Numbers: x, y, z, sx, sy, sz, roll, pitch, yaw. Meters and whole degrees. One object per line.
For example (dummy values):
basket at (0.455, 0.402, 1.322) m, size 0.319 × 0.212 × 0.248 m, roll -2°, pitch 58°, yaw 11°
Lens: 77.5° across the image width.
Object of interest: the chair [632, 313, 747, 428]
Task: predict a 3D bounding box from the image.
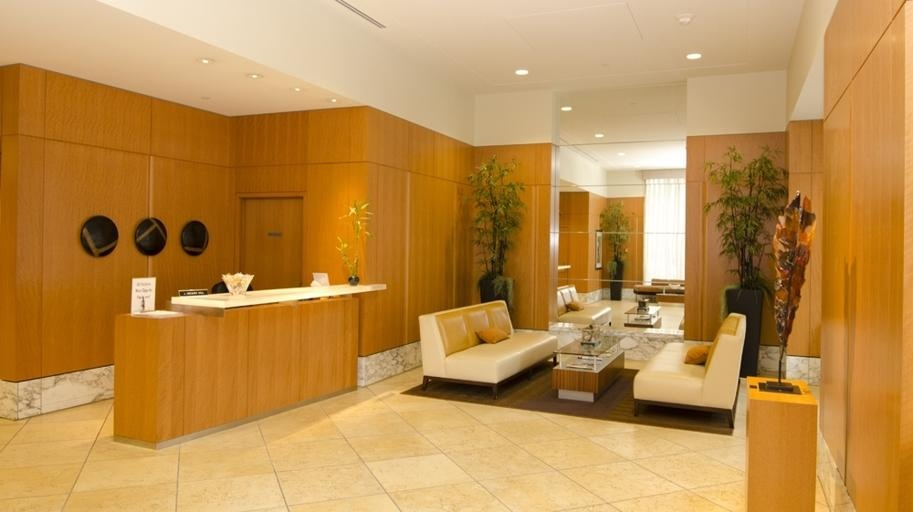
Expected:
chair at (3.636, 1.177, 8.876) m, size 1.477 × 1.205 × 2.639 m, roll 0°, pitch 1°, yaw 24°

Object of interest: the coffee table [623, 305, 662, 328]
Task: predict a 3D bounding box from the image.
coffee table at (3.738, 1.248, 11.449) m, size 0.506 × 0.242 × 0.497 m, roll 1°, pitch 4°, yaw 22°

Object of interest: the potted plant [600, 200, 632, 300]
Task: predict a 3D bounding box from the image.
potted plant at (3.236, -0.109, 11.677) m, size 0.464 × 1.968 × 0.602 m, roll -3°, pitch 13°, yaw -15°

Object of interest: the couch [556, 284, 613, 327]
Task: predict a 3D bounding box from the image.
couch at (2.658, 1.001, 11.883) m, size 0.950 × 0.747 × 0.887 m, roll -1°, pitch 0°, yaw 26°

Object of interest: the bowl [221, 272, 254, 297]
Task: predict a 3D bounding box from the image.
bowl at (-3.208, 0.409, 8.382) m, size 0.455 × 0.277 × 0.399 m, roll -1°, pitch 0°, yaw 2°

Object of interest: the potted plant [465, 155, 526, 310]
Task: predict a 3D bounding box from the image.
potted plant at (0.846, -0.521, 11.990) m, size 1.112 × 3.069 × 1.314 m, roll -2°, pitch 13°, yaw -11°

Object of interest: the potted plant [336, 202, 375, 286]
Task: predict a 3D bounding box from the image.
potted plant at (-1.755, -0.268, 9.703) m, size 0.593 × 1.262 × 0.445 m, roll -2°, pitch 13°, yaw -10°
